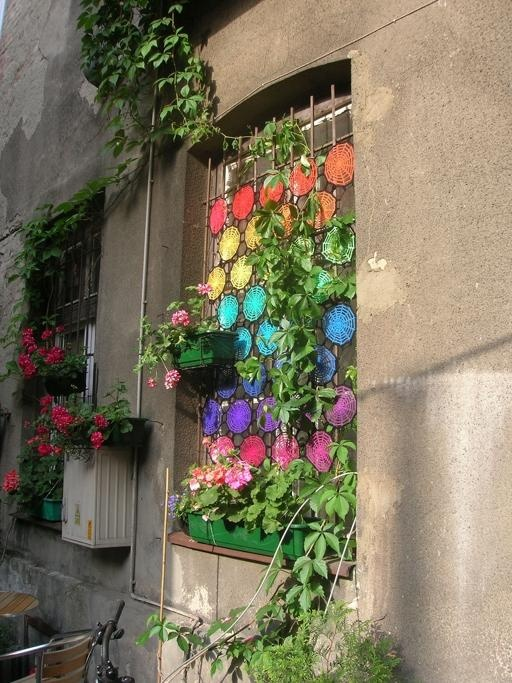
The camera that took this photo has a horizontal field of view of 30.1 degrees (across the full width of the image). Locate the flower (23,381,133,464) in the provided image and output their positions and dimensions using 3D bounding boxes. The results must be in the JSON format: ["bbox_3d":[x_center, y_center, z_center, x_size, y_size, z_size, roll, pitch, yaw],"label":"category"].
[{"bbox_3d":[-1.153,0.533,6.089,0.902,0.357,0.437,-14,-17,43],"label":"flower"}]

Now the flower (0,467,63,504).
[{"bbox_3d":[-1.656,1.087,7.124,0.649,0.255,0.205,-11,-16,37],"label":"flower"}]

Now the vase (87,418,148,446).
[{"bbox_3d":[-0.859,0.571,5.915,0.386,0.185,0.261,4,-14,-24],"label":"vase"}]

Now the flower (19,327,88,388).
[{"bbox_3d":[-1.635,0.069,7.428,0.641,0.426,0.718,11,-6,-9],"label":"flower"}]

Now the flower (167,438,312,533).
[{"bbox_3d":[-0.066,0.770,4.892,0.633,0.386,0.225,6,-13,44],"label":"flower"}]

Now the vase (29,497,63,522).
[{"bbox_3d":[-1.515,1.226,6.989,0.173,0.095,0.261,9,-21,-28],"label":"vase"}]

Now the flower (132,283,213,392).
[{"bbox_3d":[-0.537,0.011,5.803,0.346,0.444,0.305,5,-16,23],"label":"flower"}]

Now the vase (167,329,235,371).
[{"bbox_3d":[-0.317,0.043,5.654,0.204,0.139,0.291,13,-22,-36],"label":"vase"}]
